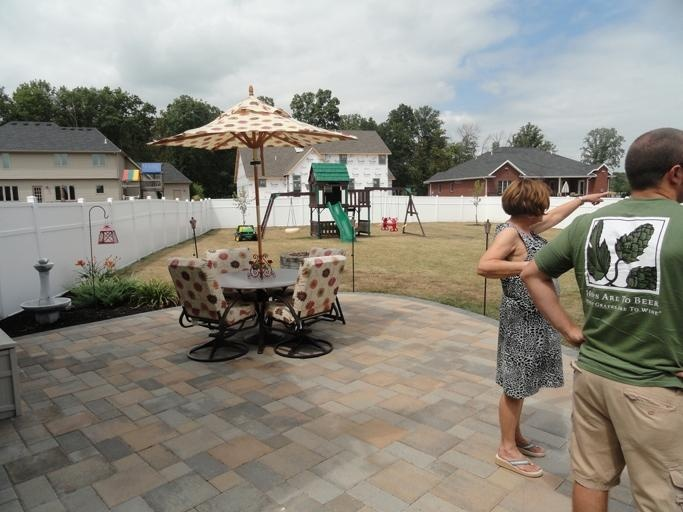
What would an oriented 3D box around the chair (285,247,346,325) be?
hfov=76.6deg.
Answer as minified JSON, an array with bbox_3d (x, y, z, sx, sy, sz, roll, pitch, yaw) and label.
[{"bbox_3d":[-0.389,0.488,6.298,1.028,1.034,0.893,-5,2,44],"label":"chair"}]

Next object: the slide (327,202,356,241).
[{"bbox_3d":[-0.032,-1.865,23.969,0.929,0.875,3.825,-3,28,-11],"label":"slide"}]

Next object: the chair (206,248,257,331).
[{"bbox_3d":[-2.153,0.378,7.928,1.046,1.319,1.135,-1,3,-34],"label":"chair"}]

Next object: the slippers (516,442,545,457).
[{"bbox_3d":[1.682,1.711,3.838,0.202,0.057,0.114,0,3,39],"label":"slippers"}]

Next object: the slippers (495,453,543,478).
[{"bbox_3d":[1.503,1.747,3.641,0.299,0.090,0.166,3,5,31],"label":"slippers"}]
